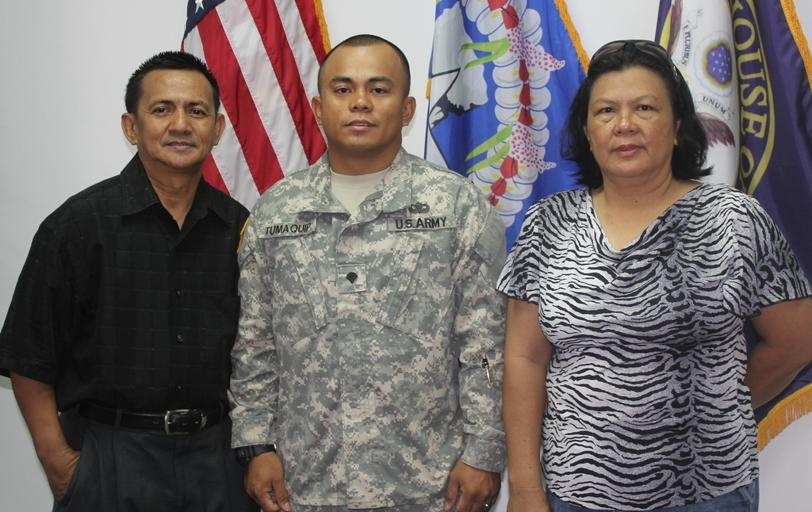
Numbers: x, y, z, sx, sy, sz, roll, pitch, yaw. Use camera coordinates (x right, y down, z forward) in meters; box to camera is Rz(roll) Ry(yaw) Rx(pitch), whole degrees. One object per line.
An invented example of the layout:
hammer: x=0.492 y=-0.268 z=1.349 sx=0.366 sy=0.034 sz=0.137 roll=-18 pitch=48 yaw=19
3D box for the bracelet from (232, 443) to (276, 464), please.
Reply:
bracelet: x=-0.581 y=0.751 z=3.263 sx=0.121 sy=0.076 sz=0.123 roll=12 pitch=-25 yaw=-29

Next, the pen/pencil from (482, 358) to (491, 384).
pen/pencil: x=0.295 y=0.433 z=3.220 sx=0.024 sy=0.089 sz=0.023 roll=-4 pitch=-25 yaw=-10
